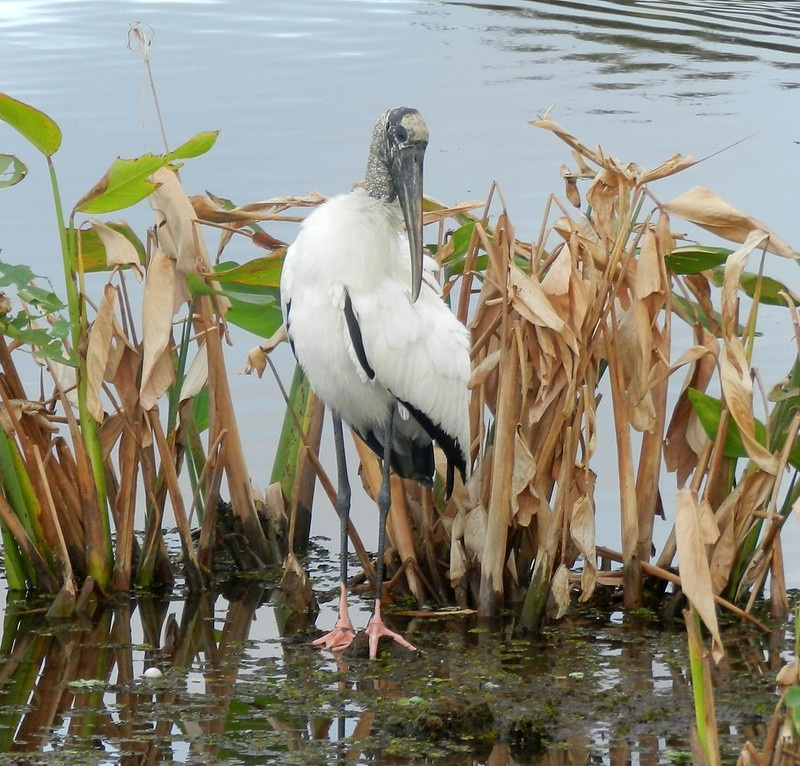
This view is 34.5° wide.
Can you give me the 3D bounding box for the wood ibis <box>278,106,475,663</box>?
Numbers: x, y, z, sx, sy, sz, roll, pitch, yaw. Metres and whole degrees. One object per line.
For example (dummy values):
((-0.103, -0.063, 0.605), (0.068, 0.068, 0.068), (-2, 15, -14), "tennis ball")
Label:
((-0.076, -0.081, 5.215), (0.788, 2.039, 0.885), (-1, 8, -9), "wood ibis")
